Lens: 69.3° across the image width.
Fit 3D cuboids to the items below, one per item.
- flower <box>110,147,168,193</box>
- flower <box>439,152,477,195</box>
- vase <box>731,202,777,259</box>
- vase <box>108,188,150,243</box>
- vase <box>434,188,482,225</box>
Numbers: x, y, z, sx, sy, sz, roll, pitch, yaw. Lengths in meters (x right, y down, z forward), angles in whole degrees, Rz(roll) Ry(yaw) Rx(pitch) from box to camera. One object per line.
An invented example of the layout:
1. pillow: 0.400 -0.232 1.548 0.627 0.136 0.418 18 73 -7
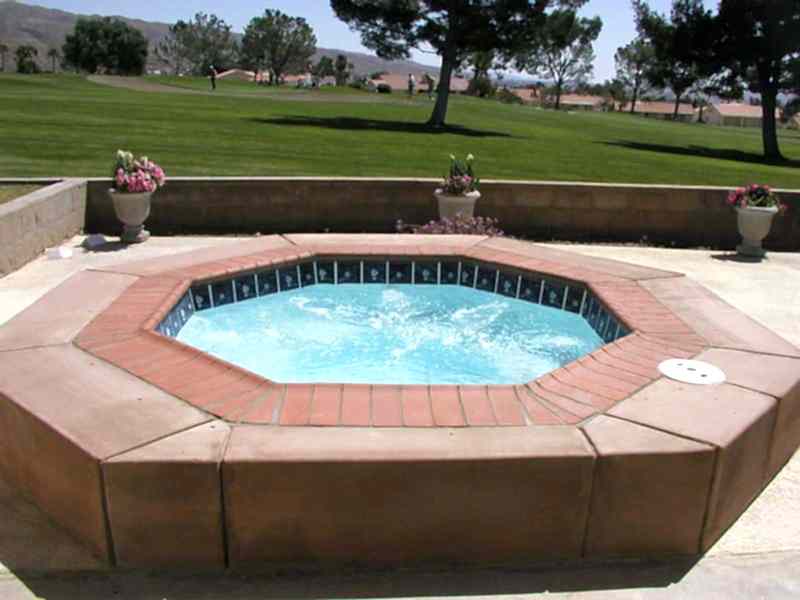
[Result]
1. flower: -4.195 -2.001 9.094 0.658 0.595 0.567 7 18 7
2. flower: 1.026 -2.214 10.058 0.560 0.561 0.562 1 29 -8
3. vase: 5.863 -1.143 9.635 0.590 0.862 0.352 13 20 25
4. vase: -4.289 -1.315 9.175 0.552 0.836 0.358 -3 20 -24
5. vase: 0.964 -1.626 9.975 0.694 0.427 0.641 0 15 -1
